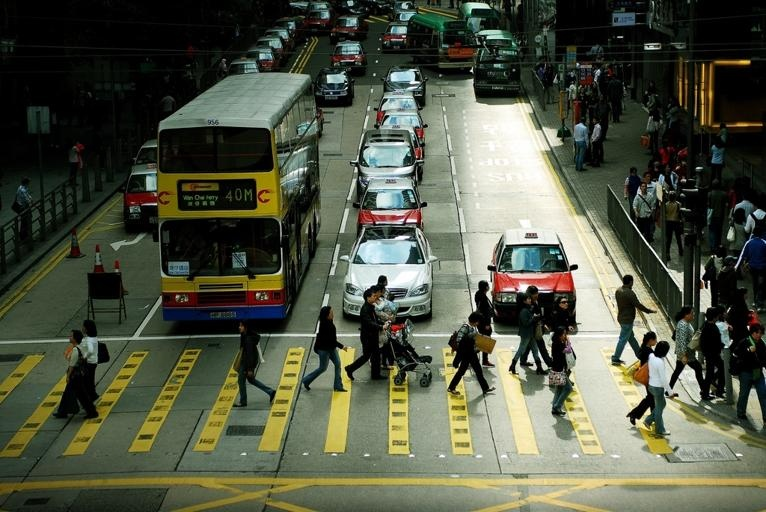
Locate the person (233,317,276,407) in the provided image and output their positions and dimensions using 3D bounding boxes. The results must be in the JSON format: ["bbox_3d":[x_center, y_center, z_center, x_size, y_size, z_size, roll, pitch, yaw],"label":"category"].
[{"bbox_3d":[-3.191,2.747,22.963,1.206,2.015,0.903,7,39,3],"label":"person"}]

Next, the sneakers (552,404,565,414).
[{"bbox_3d":[4.099,3.665,21.626,0.342,0.248,0.123,-7,40,-1],"label":"sneakers"}]

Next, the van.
[{"bbox_3d":[0.240,-3.894,37.312,2.015,1.601,3.365,-1,13,2],"label":"van"}]

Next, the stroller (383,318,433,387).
[{"bbox_3d":[0.618,2.360,23.171,1.263,1.679,0.865,0,18,1],"label":"stroller"}]

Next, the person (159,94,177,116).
[{"bbox_3d":[-11.089,-7.887,47.776,0.613,1.018,1.853,-6,20,-17],"label":"person"}]

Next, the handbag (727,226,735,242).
[{"bbox_3d":[10.580,-0.685,28.139,0.144,0.403,0.355,-6,31,0],"label":"handbag"}]

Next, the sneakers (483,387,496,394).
[{"bbox_3d":[2.634,3.286,22.672,0.339,0.138,0.119,-18,50,-12],"label":"sneakers"}]

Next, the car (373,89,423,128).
[{"bbox_3d":[0.660,-7.344,45.796,1.560,1.296,2.986,0,19,3],"label":"car"}]

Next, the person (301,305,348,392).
[{"bbox_3d":[-1.446,2.113,22.888,0.993,2.375,1.504,-2,18,-4],"label":"person"}]

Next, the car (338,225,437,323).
[{"bbox_3d":[0.203,0.570,27.234,2.515,1.894,3.189,0,19,1],"label":"car"}]

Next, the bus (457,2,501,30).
[{"bbox_3d":[6.833,-16.748,64.984,1.714,1.864,5.672,-4,25,0],"label":"bus"}]

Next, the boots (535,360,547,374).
[{"bbox_3d":[4.060,2.808,23.653,0.313,0.402,0.326,3,18,9],"label":"boots"}]

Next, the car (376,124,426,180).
[{"bbox_3d":[1.112,-4.776,40.054,1.545,1.297,2.977,1,22,4],"label":"car"}]

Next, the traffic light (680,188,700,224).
[{"bbox_3d":[7.323,-1.182,21.980,0.408,0.842,0.497,6,19,19],"label":"traffic light"}]

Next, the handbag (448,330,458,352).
[{"bbox_3d":[1.694,2.063,22.180,0.119,0.433,0.321,10,-3,6],"label":"handbag"}]

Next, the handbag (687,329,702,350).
[{"bbox_3d":[7.349,2.022,21.789,0.361,0.480,0.188,-15,23,-38],"label":"handbag"}]

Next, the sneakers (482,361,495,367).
[{"bbox_3d":[2.726,2.835,23.893,0.312,0.144,0.124,1,27,2],"label":"sneakers"}]

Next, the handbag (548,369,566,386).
[{"bbox_3d":[4.012,2.796,21.217,0.435,0.444,0.208,0,20,6],"label":"handbag"}]

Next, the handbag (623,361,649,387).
[{"bbox_3d":[5.719,2.609,20.702,0.345,0.484,0.535,-9,20,-24],"label":"handbag"}]

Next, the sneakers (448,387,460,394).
[{"bbox_3d":[1.744,3.334,22.605,0.327,0.135,0.140,6,-17,-26],"label":"sneakers"}]

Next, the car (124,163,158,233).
[{"bbox_3d":[-9.057,-2.085,34.623,1.244,1.999,1.970,-5,19,-14],"label":"car"}]

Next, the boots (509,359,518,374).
[{"bbox_3d":[3.308,2.822,23.564,0.172,0.369,0.370,1,16,4],"label":"boots"}]

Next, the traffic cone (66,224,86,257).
[{"bbox_3d":[-10.916,-0.535,32.852,0.706,1.098,0.747,2,24,-4],"label":"traffic cone"}]

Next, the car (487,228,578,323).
[{"bbox_3d":[4.243,0.634,26.905,2.336,2.090,2.727,2,19,7],"label":"car"}]
